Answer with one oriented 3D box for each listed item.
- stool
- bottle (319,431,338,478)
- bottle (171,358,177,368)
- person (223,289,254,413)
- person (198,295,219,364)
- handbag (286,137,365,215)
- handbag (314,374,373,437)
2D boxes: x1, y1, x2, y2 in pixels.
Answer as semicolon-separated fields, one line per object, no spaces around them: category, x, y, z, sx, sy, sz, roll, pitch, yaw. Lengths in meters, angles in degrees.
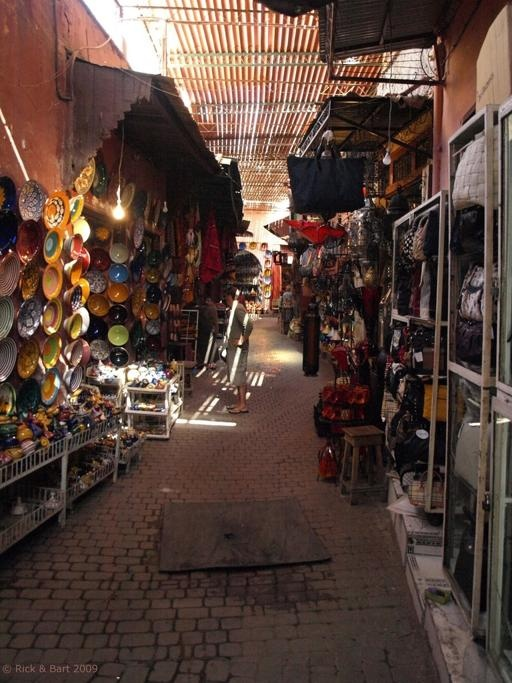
stool;0.950;1.050;4.625;0.404;0.586;0.783;2;3;8
bottle;0.689;1.107;4.994;0.180;0.411;0.266;1;2;5
bottle;-1.124;0.303;7.034;0.080;0.147;0.087;2;-2;0
person;-0.263;0.181;7.542;0.359;1.774;0.464;1;2;-2
person;-1.110;-0.113;11.713;0.412;1.452;0.907;1;2;-7
handbag;0.706;-1.601;5.325;0.775;0.549;0.279;2;2;7
handbag;0.872;0.676;5.481;0.633;0.746;0.685;-1;2;-6
